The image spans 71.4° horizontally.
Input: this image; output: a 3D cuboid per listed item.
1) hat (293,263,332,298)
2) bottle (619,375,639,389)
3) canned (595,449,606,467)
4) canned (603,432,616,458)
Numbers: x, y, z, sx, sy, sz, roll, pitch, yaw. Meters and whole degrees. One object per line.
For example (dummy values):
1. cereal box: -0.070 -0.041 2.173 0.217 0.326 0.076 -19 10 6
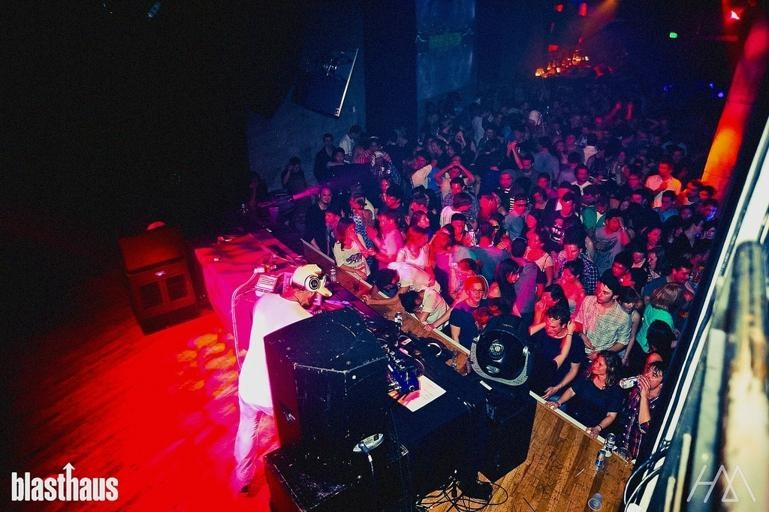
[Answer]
1. hat: -0.777 0.226 5.709 0.458 0.273 0.365 11 19 -3
2. bottle: 2.651 1.390 5.841 0.137 0.093 0.196 -11 -1 -9
3. canned: 2.260 2.125 5.622 0.048 0.046 0.189 19 -29 17
4. canned: 2.377 2.013 5.677 0.069 0.071 0.273 18 -38 22
